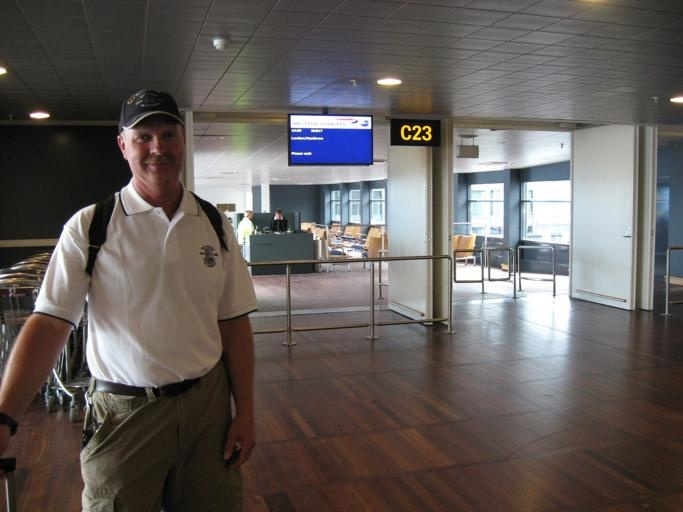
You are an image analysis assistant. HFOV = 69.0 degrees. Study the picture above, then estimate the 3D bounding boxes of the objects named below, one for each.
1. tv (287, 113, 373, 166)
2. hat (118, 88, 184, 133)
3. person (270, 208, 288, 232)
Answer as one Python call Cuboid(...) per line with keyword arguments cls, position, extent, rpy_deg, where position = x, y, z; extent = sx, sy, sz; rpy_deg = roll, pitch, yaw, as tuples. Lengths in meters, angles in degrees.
Cuboid(cls="tv", position=(-0.165, -1.749, 7.384), extent=(1.268, 0.745, 0.176), rpy_deg=(-2, 7, -15))
Cuboid(cls="hat", position=(-0.688, -0.532, 1.783), extent=(0.212, 0.133, 0.272), rpy_deg=(-12, 12, -15))
Cuboid(cls="person", position=(-2.096, -1.200, 16.663), extent=(0.515, 0.755, 0.603), rpy_deg=(1, 6, 16))
